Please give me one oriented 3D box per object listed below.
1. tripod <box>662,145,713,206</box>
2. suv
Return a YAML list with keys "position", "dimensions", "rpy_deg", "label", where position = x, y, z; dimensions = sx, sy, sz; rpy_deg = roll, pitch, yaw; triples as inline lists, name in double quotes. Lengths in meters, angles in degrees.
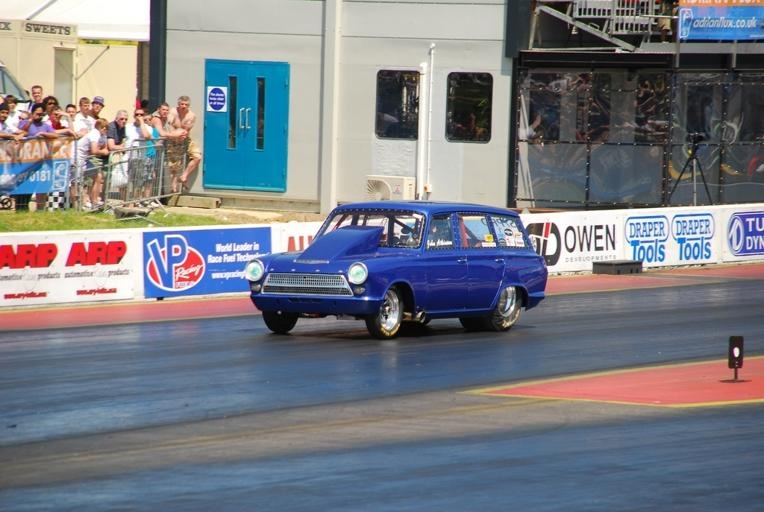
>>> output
- position: [7.545, -2.079, 32.718]
  dimensions: [0.854, 1.684, 1.525]
  rpy_deg: [7, 13, 29]
  label: "tripod"
- position: [0.375, 0.203, 20.838]
  dimensions: [3.827, 1.498, 2.246]
  rpy_deg: [4, -5, -44]
  label: "suv"
